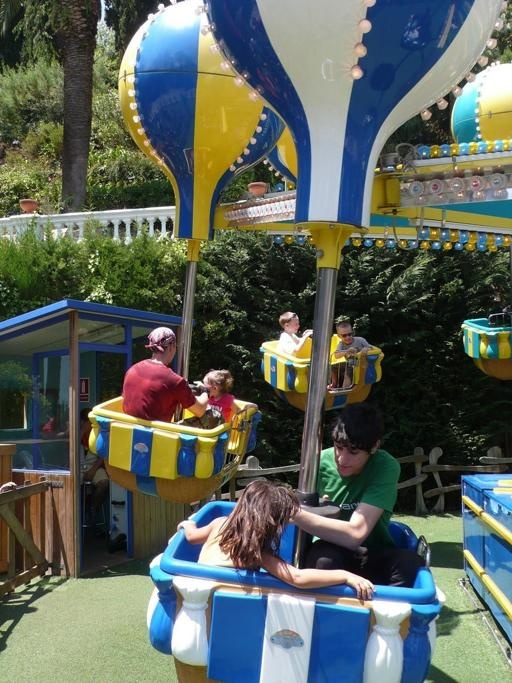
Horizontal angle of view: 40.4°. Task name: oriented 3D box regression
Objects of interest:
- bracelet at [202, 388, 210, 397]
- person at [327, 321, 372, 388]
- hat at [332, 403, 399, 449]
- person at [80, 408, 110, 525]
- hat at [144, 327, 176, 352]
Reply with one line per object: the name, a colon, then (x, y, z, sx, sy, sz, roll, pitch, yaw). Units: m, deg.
bracelet: (-0.324, 0.323, 4.444, 0.057, 0.052, 0.057, 3, 0, 37)
person: (0.931, 0.159, 7.087, 0.468, 0.697, 0.406, 6, -11, -41)
hat: (0.415, 0.337, 2.757, 0.243, 0.184, 0.189, 2, -4, -13)
person: (-1.467, 1.169, 6.308, 0.262, 1.142, 0.891, 2, -4, -11)
hat: (-0.571, -0.012, 4.262, 0.138, 0.124, 0.181, 4, 0, 23)
